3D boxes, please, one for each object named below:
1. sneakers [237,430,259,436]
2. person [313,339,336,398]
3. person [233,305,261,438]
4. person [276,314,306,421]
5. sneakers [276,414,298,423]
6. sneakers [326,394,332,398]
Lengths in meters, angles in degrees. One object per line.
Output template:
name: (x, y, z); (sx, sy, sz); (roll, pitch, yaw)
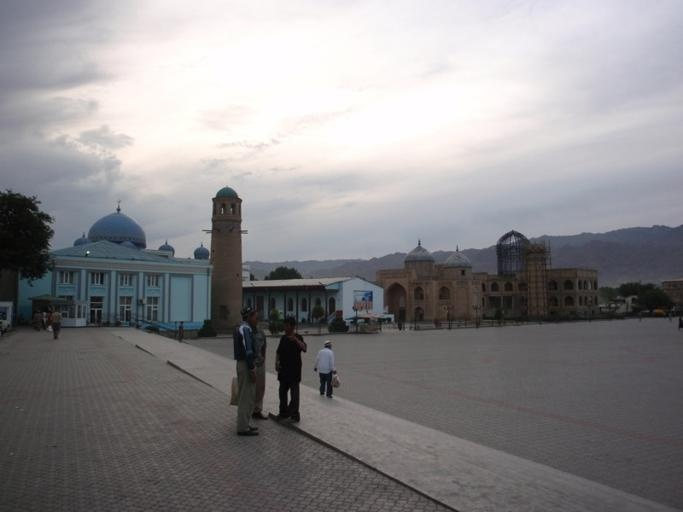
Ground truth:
sneakers: (-1.603, 3.045, 10.287); (0.364, 0.158, 0.125); (-2, -4, -2)
person: (-0.370, 2.632, 14.004); (0.437, 1.295, 1.341); (-2, -5, -3)
person: (-1.669, 2.010, 10.454); (0.377, 2.188, 0.528); (-2, -4, -10)
person: (-0.981, 2.143, 11.580); (0.586, 1.946, 0.990); (-2, -4, -4)
sneakers: (-1.024, 3.033, 11.183); (0.548, 0.117, 0.203); (-6, -6, 35)
sneakers: (-0.261, 3.166, 13.489); (0.124, 0.121, 0.064); (-1, -12, 2)
